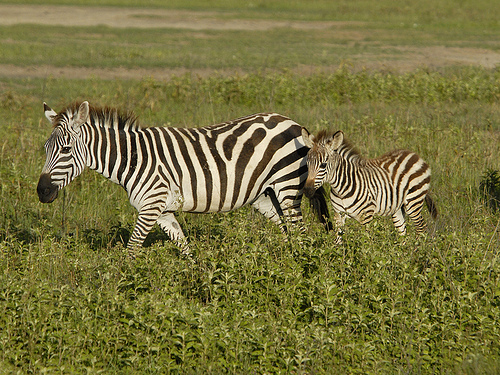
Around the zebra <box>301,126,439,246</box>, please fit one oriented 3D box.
[{"bbox_3d":[1.842,0.111,11.647,2.597,1.834,0.743,-2,7,-33],"label":"zebra"}]
